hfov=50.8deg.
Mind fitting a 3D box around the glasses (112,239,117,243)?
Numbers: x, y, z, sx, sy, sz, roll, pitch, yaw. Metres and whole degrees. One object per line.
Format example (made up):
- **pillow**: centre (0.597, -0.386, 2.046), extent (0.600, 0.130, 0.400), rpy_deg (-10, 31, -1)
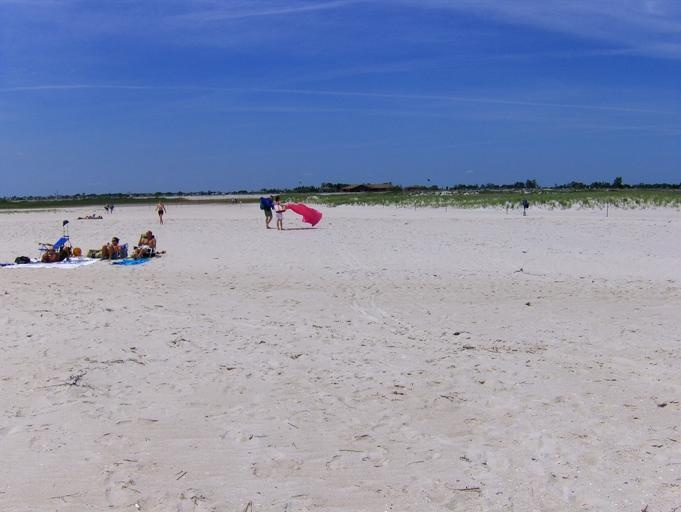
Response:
- **glasses**: centre (-6.772, -0.478, 21.499), extent (0.117, 0.116, 0.137), rpy_deg (33, -15, -6)
